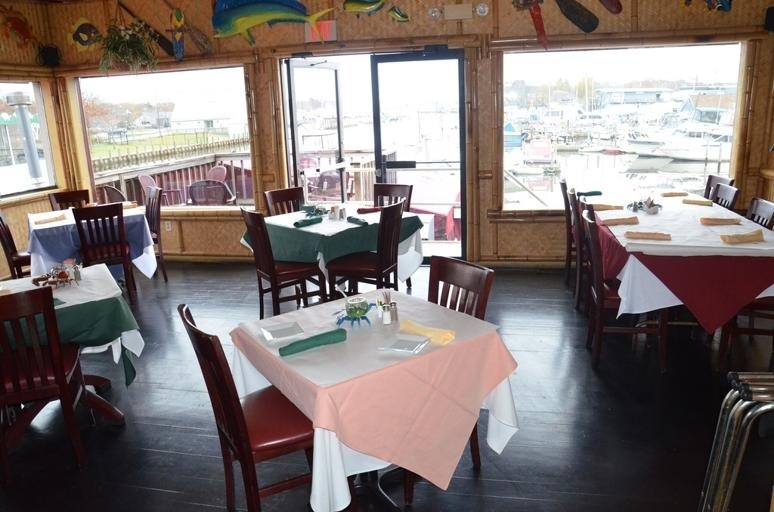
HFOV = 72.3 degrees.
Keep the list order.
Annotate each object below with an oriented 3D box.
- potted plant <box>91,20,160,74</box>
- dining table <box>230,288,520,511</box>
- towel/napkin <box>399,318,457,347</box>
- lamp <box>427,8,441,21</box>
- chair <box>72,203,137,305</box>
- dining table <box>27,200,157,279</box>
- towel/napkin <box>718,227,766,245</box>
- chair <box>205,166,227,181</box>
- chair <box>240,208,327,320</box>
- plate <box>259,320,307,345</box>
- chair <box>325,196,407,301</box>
[{"bbox_3d":[-3.257,-2.736,6.863,0.680,0.447,0.633,8,23,14],"label":"potted plant"},{"bbox_3d":[-0.036,1.063,3.171,1.325,0.708,1.348,-11,28,-37],"label":"dining table"},{"bbox_3d":[0.234,0.445,3.142,0.301,0.084,0.129,16,16,43],"label":"towel/napkin"},{"bbox_3d":[0.569,-2.857,6.230,0.153,0.134,0.050,-2,14,5],"label":"lamp"},{"bbox_3d":[-3.000,0.031,5.689,0.591,1.072,0.580,26,38,23],"label":"chair"},{"bbox_3d":[-3.338,-0.140,5.775,0.994,0.573,0.975,-4,9,-25],"label":"dining table"},{"bbox_3d":[2.848,-0.147,4.246,0.288,0.105,0.167,-2,6,-3],"label":"towel/napkin"},{"bbox_3d":[-2.360,-1.154,7.432,0.227,0.232,0.293,2,-3,-2],"label":"chair"},{"bbox_3d":[-0.954,0.087,5.298,0.679,1.036,0.586,-11,19,-27],"label":"chair"},{"bbox_3d":[-0.636,0.466,3.202,0.195,0.043,0.143,-8,28,-16],"label":"plate"},{"bbox_3d":[-0.218,0.026,5.354,0.722,1.114,0.683,5,15,26],"label":"chair"}]
